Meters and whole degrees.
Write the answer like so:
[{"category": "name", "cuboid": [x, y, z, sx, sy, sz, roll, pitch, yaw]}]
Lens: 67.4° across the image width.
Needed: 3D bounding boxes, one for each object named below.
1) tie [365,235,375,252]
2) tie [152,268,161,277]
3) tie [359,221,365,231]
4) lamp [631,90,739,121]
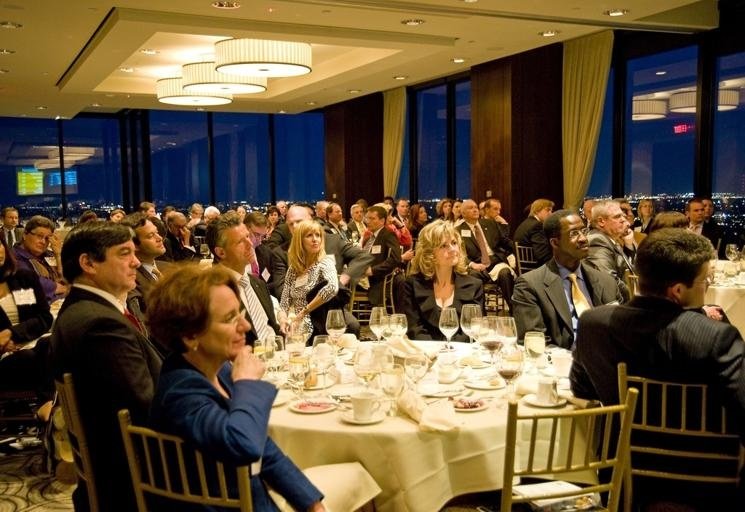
[{"category": "tie", "cuboid": [-0.051, -0.160, 7.459, 0.142, 0.070, 0.205, -2, 25, 25]}, {"category": "tie", "cuboid": [-1.644, 0.126, 4.226, 0.014, 0.062, 0.060, -28, -38, 19]}, {"category": "tie", "cuboid": [-0.208, -0.516, 9.779, 0.123, 0.177, 0.040, 2, -7, -3]}, {"category": "lamp", "cuboid": [4.464, -2.177, 8.067, 0.112, 0.425, 1.516, -6, 5, -32]}]
